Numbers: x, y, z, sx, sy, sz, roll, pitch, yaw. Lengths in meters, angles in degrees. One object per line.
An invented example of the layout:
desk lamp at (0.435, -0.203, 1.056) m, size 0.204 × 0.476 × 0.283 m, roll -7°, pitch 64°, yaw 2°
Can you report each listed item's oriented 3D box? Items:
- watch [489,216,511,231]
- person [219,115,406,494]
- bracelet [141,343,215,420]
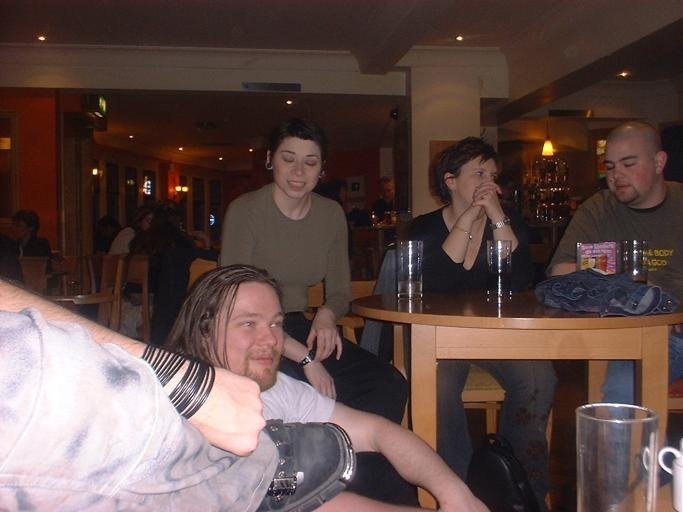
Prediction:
watch at (0.657, -0.135, 2.516) m, size 0.068 × 0.041 × 0.067 m, roll -10°, pitch 9°, yaw 41°
person at (-0.100, 0.242, 2.247) m, size 0.528 × 1.451 × 0.880 m, roll -1°, pitch 5°, yaw -36°
bracelet at (-0.311, 0.232, 1.169) m, size 0.129 × 0.054 × 0.144 m, roll 27°, pitch 2°, yaw 4°
